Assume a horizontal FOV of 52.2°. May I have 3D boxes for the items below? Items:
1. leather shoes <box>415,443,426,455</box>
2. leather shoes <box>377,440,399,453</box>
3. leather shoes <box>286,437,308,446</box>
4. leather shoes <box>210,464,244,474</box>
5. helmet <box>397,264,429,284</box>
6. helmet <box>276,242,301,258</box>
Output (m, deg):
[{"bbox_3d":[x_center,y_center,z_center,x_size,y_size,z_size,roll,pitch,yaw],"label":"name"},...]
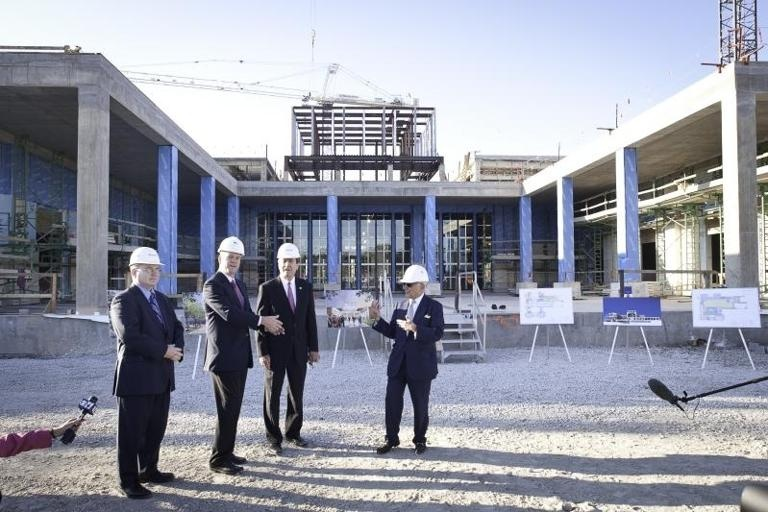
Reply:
[{"bbox_3d":[0.919,4.746,19.337,0.289,0.243,0.230,-1,12,-2],"label":"leather shoes"},{"bbox_3d":[0.093,4.736,19.397,0.631,0.295,0.229,-2,-11,-31],"label":"leather shoes"},{"bbox_3d":[-2.174,4.665,19.645,0.433,0.165,0.246,-2,-7,28],"label":"leather shoes"},{"bbox_3d":[-3.785,5.109,18.752,0.654,0.285,0.271,-1,-10,6],"label":"leather shoes"},{"bbox_3d":[0.856,0.458,19.609,0.455,0.364,0.612,-4,-9,42],"label":"helmet"},{"bbox_3d":[-2.407,-0.146,19.886,0.456,0.347,0.645,1,-6,-1],"label":"helmet"}]
